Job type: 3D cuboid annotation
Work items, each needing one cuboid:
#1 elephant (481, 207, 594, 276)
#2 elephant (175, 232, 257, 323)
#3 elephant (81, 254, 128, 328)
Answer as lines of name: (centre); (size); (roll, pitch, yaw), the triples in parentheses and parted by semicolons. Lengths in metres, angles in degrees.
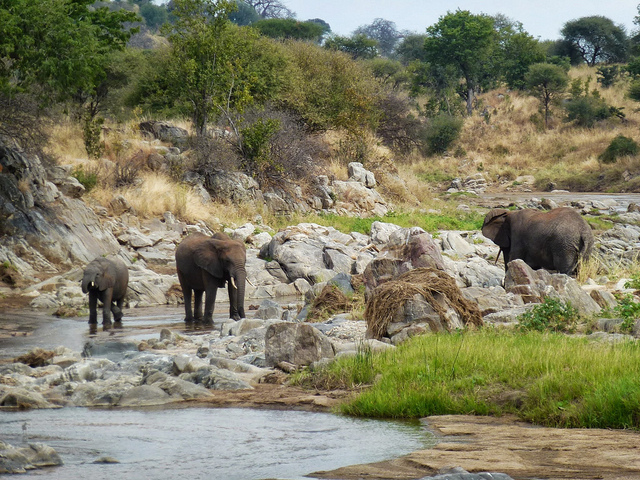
elephant: (7.243, 0.190, 30.226); (2.079, 2.511, 4.100); (-13, 10, -35)
elephant: (-3.323, 1.180, 27.857); (3.388, 2.837, 1.625); (3, 5, 43)
elephant: (-6.604, 1.511, 27.426); (1.018, 2.070, 2.390); (1, 1, 16)
